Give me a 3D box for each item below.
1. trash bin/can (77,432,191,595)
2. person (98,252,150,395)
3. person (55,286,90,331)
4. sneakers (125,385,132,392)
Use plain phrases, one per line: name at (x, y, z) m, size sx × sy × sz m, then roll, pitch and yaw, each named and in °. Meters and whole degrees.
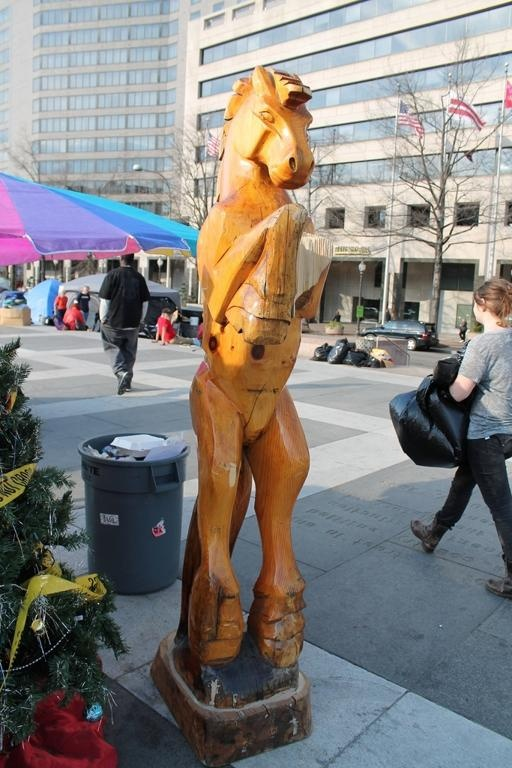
trash bin/can at (-0.696, 0.732, 3.238) m, size 0.569 × 0.804 × 0.504 m, roll 6°, pitch 9°, yaw 7°
person at (-2.058, -0.939, 8.957) m, size 0.707 × 2.137 × 0.616 m, roll 2°, pitch 10°, yaw -14°
person at (-6.402, -2.568, 20.225) m, size 1.135 × 1.544 × 1.620 m, roll 2°, pitch -1°, yaw -35°
sneakers at (-2.011, 0.058, 9.030) m, size 0.037 × 0.081 × 0.113 m, roll -1°, pitch -2°, yaw 29°
